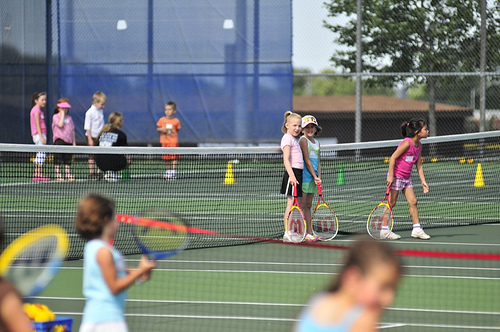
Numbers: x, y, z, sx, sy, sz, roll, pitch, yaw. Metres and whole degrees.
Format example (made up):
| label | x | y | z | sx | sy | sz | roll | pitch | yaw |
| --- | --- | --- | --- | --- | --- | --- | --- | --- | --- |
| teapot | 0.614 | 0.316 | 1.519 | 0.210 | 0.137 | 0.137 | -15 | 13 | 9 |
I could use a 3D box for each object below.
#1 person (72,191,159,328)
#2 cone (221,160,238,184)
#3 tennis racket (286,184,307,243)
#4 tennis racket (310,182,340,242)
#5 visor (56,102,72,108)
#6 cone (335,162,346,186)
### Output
| label | x | y | z | sx | sy | sz | roll | pitch | yaw |
| --- | --- | --- | --- | --- | --- | --- | --- | --- | --- |
| person | -1.603 | 1.085 | 9.533 | 0.770 | 1.518 | 0.350 | -2 | 3 | -9 |
| cone | -0.378 | 0.126 | 15.018 | 0.267 | 0.568 | 0.343 | -2 | 6 | -21 |
| tennis racket | 0.769 | 0.797 | 14.017 | 0.337 | 0.985 | 0.464 | -1 | 3 | 2 |
| tennis racket | 1.331 | 0.706 | 15.462 | 0.489 | 0.090 | 1.506 | -8 | 44 | 4 |
| visor | -4.220 | -1.400 | 18.651 | 0.297 | 0.125 | 0.250 | -2 | 4 | -9 |
| cone | 1.755 | 0.151 | 16.216 | 0.178 | 0.467 | 0.630 | -1 | 3 | 6 |
